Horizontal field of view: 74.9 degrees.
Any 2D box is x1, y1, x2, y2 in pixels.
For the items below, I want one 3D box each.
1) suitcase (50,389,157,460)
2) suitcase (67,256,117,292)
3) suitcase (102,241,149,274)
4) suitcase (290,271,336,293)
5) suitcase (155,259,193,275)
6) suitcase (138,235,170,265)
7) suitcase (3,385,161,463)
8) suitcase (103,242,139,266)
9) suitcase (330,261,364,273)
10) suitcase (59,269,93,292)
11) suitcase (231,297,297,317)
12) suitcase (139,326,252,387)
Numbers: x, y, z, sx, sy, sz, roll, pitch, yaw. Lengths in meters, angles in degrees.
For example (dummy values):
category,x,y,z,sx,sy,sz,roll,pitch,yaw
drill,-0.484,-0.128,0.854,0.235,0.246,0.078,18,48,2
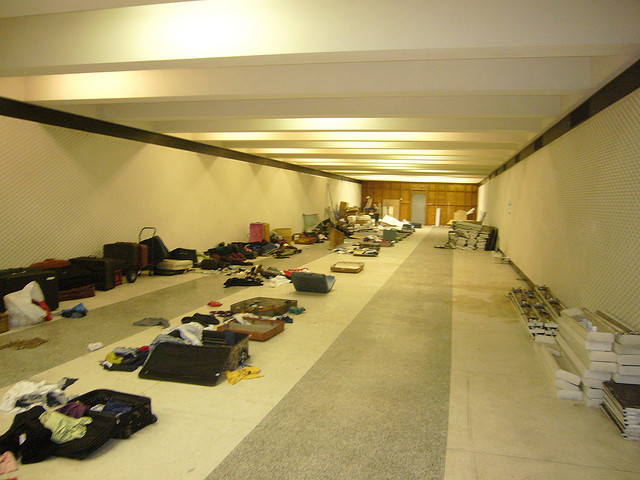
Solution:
category,x,y,z,sx,sy,sz,roll,pitch,yaw
suitcase,-1.792,1.556,3.544,0.601,0.119,0.531,5,6,28
suitcase,-4.142,0.622,8.237,1.264,0.525,0.817,7,7,21
suitcase,-3.985,0.357,8.476,0.996,0.563,0.437,3,8,13
suitcase,-0.117,0.784,7.791,0.535,0.240,0.631,1,8,13
suitcase,-3.325,0.616,9.650,0.780,0.352,0.358,-9,17,-41
suitcase,-3.713,0.248,9.271,0.460,0.579,0.711,-10,7,28
suitcase,-1.994,1.547,3.529,0.716,0.141,0.644,4,6,29
suitcase,-4.029,0.298,8.423,0.702,0.376,0.293,4,10,5
suitcase,0.679,0.663,10.241,0.721,0.117,0.869,3,10,10
suitcase,-4.269,0.689,7.340,0.181,0.319,0.555,8,13,18
suitcase,-0.880,1.050,6.643,0.846,0.138,0.774,4,11,17
suitcase,-1.375,1.269,4.784,0.966,0.346,0.895,4,11,13
